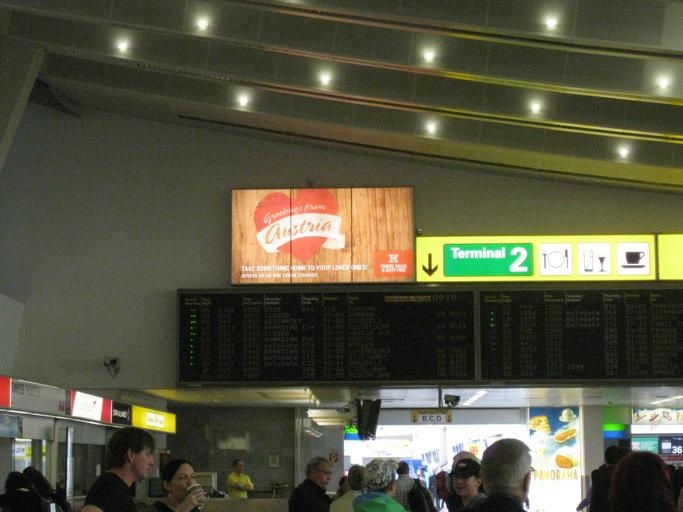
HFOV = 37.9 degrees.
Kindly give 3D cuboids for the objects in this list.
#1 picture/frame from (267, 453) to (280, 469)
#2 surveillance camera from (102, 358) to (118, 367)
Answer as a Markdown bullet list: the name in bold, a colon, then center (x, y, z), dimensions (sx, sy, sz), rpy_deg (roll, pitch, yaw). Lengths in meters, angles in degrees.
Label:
- **picture/frame**: center (-1.254, 3.822, 18.436), dimensions (0.257, 0.350, 0.037), rpy_deg (1, -22, -1)
- **surveillance camera**: center (-3.250, 1.505, 14.065), dimensions (0.211, 0.114, 0.100), rpy_deg (1, -15, -1)
